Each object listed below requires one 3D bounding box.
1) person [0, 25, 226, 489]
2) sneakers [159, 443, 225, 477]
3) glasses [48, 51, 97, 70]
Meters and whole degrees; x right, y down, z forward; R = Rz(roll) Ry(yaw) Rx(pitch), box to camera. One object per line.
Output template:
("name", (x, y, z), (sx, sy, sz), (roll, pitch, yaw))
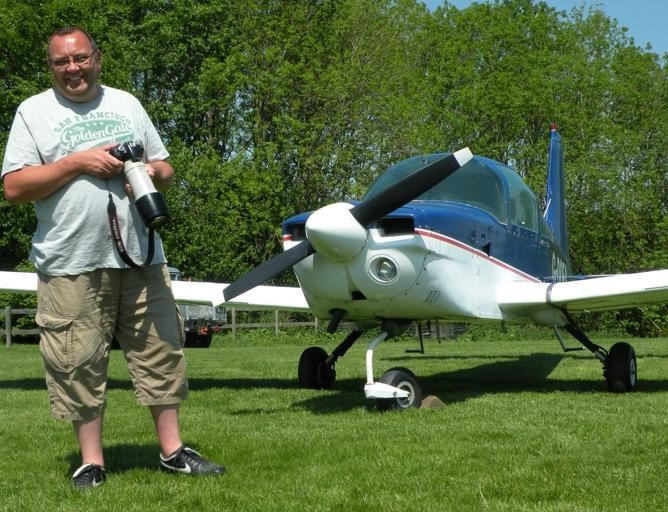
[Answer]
("person", (-1.523, 0.022, 5.355), (1.297, 2.884, 0.595), (14, -17, -41))
("sneakers", (-0.944, 1.332, 5.401), (0.451, 0.181, 0.166), (2, 4, 5))
("glasses", (-1.649, -1.256, 5.200), (0.263, 0.154, 0.057), (4, -13, -8))
